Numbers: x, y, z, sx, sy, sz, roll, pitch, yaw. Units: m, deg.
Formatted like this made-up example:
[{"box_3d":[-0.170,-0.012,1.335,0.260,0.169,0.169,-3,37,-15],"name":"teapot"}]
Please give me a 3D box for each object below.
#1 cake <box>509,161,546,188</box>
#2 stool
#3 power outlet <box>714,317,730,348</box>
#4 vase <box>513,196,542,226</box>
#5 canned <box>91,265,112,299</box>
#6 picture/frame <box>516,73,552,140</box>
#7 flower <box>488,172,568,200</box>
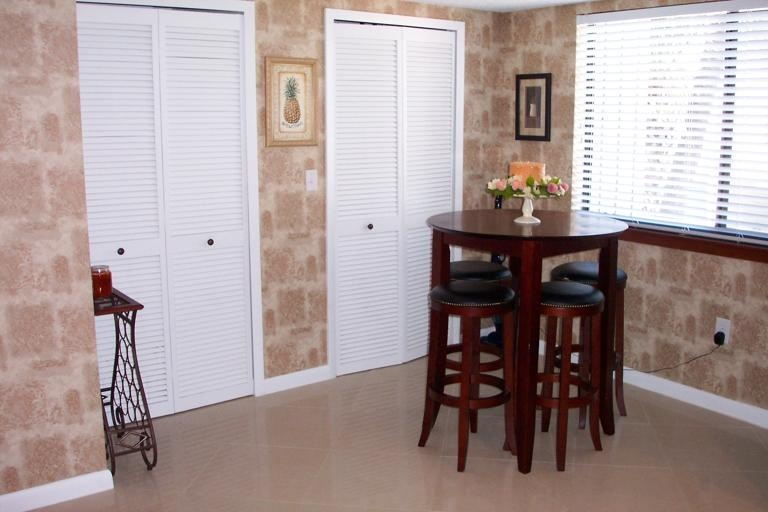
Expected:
[{"box_3d":[1.045,-0.650,4.292,0.296,0.160,0.286,-3,10,-20],"name":"cake"},{"box_3d":[0.814,0.614,4.256,1.091,1.406,1.578,-7,11,-42],"name":"stool"},{"box_3d":[2.475,0.559,4.179,0.113,0.203,0.071,7,16,34],"name":"power outlet"},{"box_3d":[0.994,-0.316,3.983,0.202,0.213,0.205,-10,11,-43],"name":"vase"},{"box_3d":[-1.723,0.160,3.475,0.095,0.200,0.182,-4,13,-12],"name":"canned"},{"box_3d":[1.330,-1.336,5.104,0.040,0.579,0.404,-16,22,-33],"name":"picture/frame"},{"box_3d":[1.006,-0.484,3.946,0.540,0.167,0.452,-11,16,-39],"name":"flower"}]
